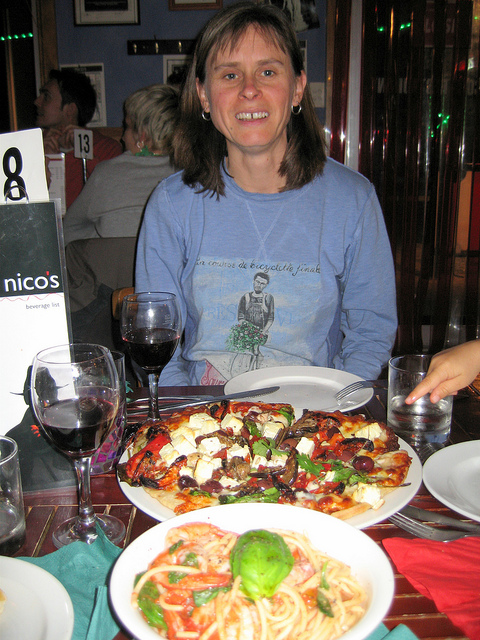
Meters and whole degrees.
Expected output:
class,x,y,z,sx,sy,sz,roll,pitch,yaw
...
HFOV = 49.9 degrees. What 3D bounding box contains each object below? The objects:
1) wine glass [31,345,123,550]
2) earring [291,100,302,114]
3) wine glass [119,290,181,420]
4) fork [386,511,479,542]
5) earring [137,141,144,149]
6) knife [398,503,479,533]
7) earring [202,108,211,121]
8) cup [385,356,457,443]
class,x,y,z,sx,sy,sz,roll,pitch,yaw
wine glass,-0.220,0.172,0.685,0.109,0.277,0.114,10,31,15
earring,0.180,-0.684,1.653,0.029,0.036,0.033,10,16,36
wine glass,-0.185,0.091,1.085,0.119,0.298,0.117,6,19,11
fork,0.239,0.259,0.643,0.098,0.015,0.013,11,32,32
earring,-0.546,-0.969,2.847,0.012,0.038,0.074,-8,15,-32
knife,0.255,0.255,0.660,0.110,0.012,0.013,14,39,36
earring,-0.111,-0.674,1.687,0.020,0.036,0.025,13,18,43
cup,0.332,0.148,0.950,0.119,0.139,0.121,0,23,0
